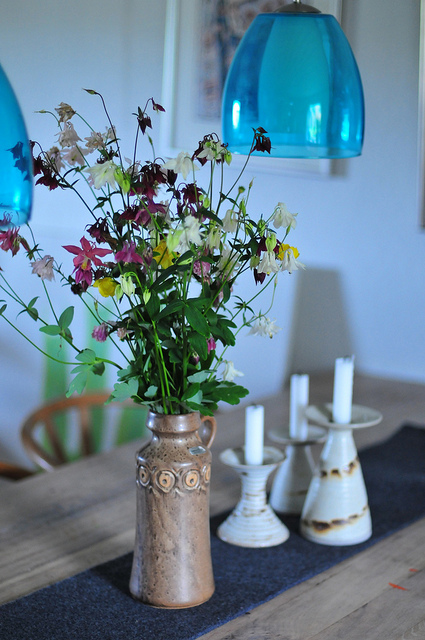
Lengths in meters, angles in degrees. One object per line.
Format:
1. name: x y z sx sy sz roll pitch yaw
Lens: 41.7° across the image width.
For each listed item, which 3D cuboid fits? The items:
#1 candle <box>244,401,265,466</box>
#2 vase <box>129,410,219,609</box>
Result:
1. candle: 0.061 0.167 0.803 0.027 0.097 0.024 -2 19 -4
2. vase: -0.041 0.214 0.633 0.103 0.225 0.066 0 5 -10
